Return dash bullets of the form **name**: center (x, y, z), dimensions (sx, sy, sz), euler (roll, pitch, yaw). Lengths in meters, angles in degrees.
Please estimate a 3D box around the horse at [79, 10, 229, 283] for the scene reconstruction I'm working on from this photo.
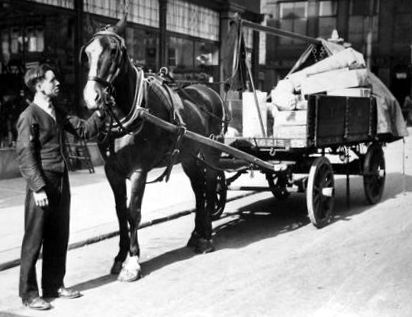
- **horse**: center (-0.670, -0.222, 8.596), dimensions (1.104, 3.531, 3.195), euler (3, 10, 20)

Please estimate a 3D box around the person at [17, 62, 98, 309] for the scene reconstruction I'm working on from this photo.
- **person**: center (-1.967, 0.337, 7.229), dimensions (0.441, 2.896, 0.725), euler (7, 11, 39)
